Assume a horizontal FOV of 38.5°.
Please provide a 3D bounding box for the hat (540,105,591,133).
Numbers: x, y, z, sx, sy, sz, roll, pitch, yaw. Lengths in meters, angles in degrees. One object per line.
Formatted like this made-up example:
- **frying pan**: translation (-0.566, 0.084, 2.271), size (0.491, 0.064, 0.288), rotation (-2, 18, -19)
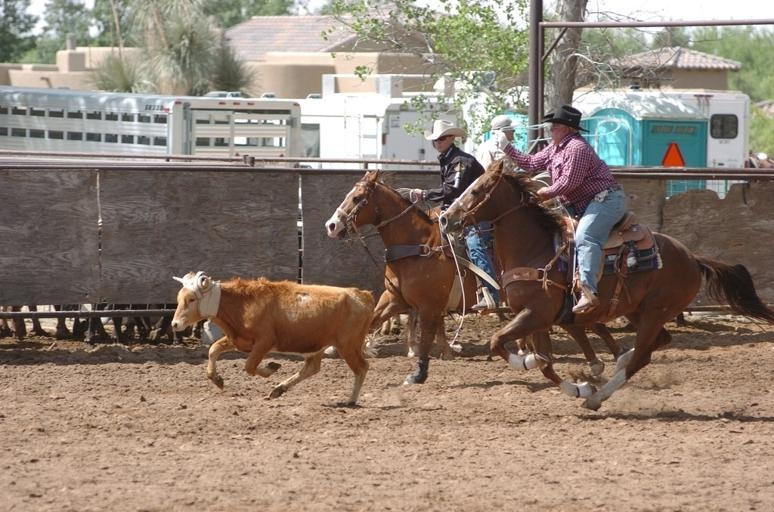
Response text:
- **hat**: translation (2.235, -1.662, 13.418), size (0.634, 0.172, 0.437), rotation (7, 10, -10)

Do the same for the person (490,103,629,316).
- **person**: translation (2.158, -0.567, 13.439), size (1.172, 2.498, 0.914), rotation (6, 15, 32)

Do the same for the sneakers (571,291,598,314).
- **sneakers**: translation (2.356, 0.569, 13.222), size (0.302, 0.313, 0.187), rotation (0, 12, 6)

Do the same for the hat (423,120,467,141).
- **hat**: translation (0.852, -1.697, 14.545), size (0.372, 0.139, 0.426), rotation (-15, -11, 42)

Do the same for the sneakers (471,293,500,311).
- **sneakers**: translation (1.208, 0.622, 14.544), size (0.172, 0.179, 0.480), rotation (-1, 0, -33)
